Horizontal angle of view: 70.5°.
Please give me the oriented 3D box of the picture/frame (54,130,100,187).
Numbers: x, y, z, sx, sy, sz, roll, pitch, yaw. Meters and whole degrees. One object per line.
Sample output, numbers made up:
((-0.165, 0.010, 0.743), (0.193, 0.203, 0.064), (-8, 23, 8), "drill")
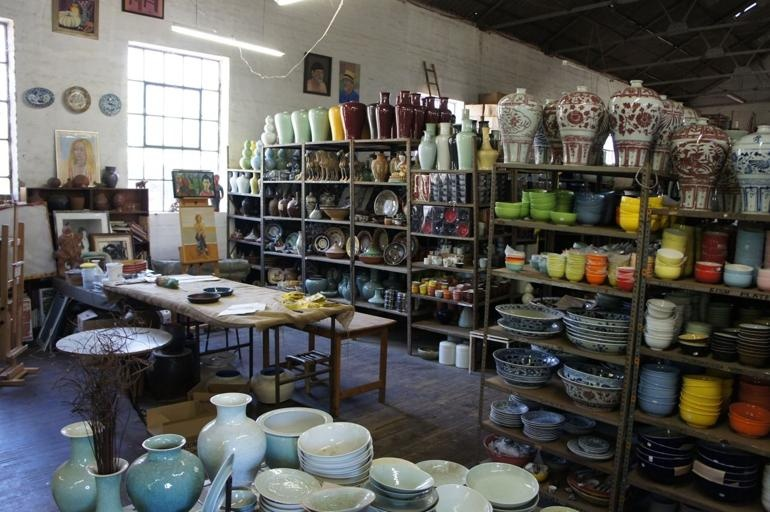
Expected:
((-4.211, -1.372, 7.450), (0.543, 0.712, 0.202), (-4, 14, -29), "picture/frame")

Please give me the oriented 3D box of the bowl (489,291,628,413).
((1.477, 0.705, 4.222), (0.825, 0.674, 0.972), (-7, 15, -40), "bowl")

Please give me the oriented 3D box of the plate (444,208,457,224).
((0.796, -0.493, 6.560), (0.180, 0.161, 0.043), (16, 13, 28), "plate")

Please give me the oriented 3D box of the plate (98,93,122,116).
((-3.874, -2.148, 7.678), (0.059, 0.325, 0.303), (13, 15, 39), "plate")

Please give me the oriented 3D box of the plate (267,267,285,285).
((-1.702, 0.312, 8.532), (0.272, 0.260, 0.224), (-5, 5, -25), "plate")

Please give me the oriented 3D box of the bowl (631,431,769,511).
((2.080, 1.412, 3.632), (0.501, 0.225, 0.586), (12, -6, -41), "bowl")

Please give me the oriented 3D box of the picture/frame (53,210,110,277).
((-4.090, -0.203, 7.229), (0.619, 0.776, 0.683), (1, 12, -7), "picture/frame")

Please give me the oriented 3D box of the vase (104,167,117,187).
((-3.845, -1.116, 7.592), (0.194, 0.290, 0.162), (-3, 13, -25), "vase")

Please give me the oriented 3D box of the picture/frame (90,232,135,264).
((-3.697, -0.107, 7.319), (0.486, 0.426, 0.036), (-2, -2, -44), "picture/frame")

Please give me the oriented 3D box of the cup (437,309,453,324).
((0.771, 0.769, 6.995), (0.211, 0.164, 0.211), (0, 16, 0), "cup")

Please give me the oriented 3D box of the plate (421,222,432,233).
((0.519, -0.349, 6.742), (0.124, 0.110, 0.031), (-8, -10, 42), "plate")

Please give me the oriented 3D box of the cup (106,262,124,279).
((-2.999, 0.165, 6.121), (0.190, 0.157, 0.195), (2, 2, 0), "cup")

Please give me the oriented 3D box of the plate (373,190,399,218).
((0.022, -0.714, 7.501), (0.394, 0.364, 0.095), (-16, -17, 36), "plate")

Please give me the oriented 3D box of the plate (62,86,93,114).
((-4.188, -2.135, 7.391), (0.336, 0.366, 0.065), (-8, 16, -41), "plate")

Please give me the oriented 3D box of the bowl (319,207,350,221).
((-0.665, -0.601, 7.630), (0.265, 0.090, 0.259), (-2, 9, 0), "bowl")

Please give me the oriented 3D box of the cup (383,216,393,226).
((0.049, -0.458, 7.187), (0.117, 0.091, 0.108), (0, 3, 0), "cup")

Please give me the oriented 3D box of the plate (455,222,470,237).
((0.929, -0.304, 6.466), (0.163, 0.150, 0.044), (28, 22, 27), "plate")

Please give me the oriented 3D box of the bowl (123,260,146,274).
((-3.024, 0.119, 6.564), (0.249, 0.112, 0.328), (-3, 12, -25), "bowl")

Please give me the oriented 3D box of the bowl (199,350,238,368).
((-1.760, 1.130, 5.869), (0.324, 0.067, 0.320), (-1, -1, 0), "bowl")
